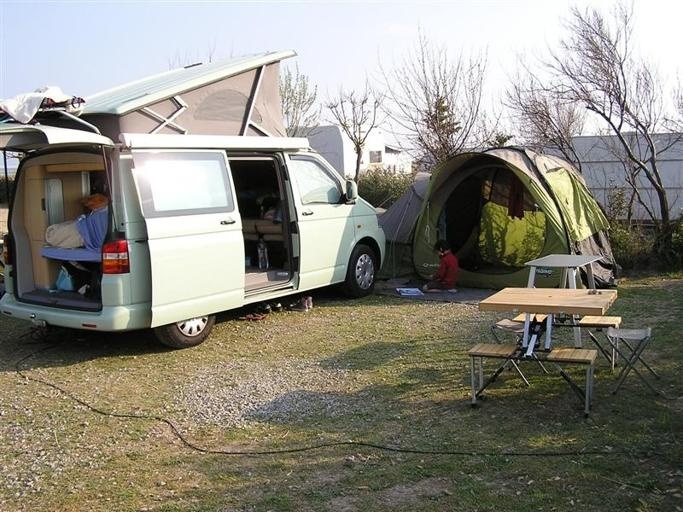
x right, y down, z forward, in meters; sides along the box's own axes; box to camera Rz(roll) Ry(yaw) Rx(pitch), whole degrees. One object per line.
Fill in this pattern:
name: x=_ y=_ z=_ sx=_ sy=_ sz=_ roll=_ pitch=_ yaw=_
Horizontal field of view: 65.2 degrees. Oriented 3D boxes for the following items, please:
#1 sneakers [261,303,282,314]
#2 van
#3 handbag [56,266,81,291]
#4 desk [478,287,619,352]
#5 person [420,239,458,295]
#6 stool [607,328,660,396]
sneakers: x=-1.134 y=0.843 z=8.590 sx=0.192 sy=0.070 sz=0.243 roll=-3 pitch=5 yaw=-36
van: x=-2.014 y=-1.070 z=7.940 sx=2.559 sy=4.096 sz=5.432 roll=6 pitch=12 yaw=36
handbag: x=-3.548 y=0.323 z=6.993 sx=0.362 sy=0.447 sz=0.470 roll=0 pitch=4 yaw=-25
desk: x=2.038 y=0.687 z=5.268 sx=1.064 sy=0.641 sz=0.981 roll=4 pitch=11 yaw=28
person: x=1.828 y=0.171 z=9.922 sx=0.645 sy=0.939 sz=0.445 roll=-1 pitch=11 yaw=6
stool: x=2.997 y=1.110 z=5.472 sx=0.498 sy=0.439 sz=0.765 roll=-1 pitch=2 yaw=21
